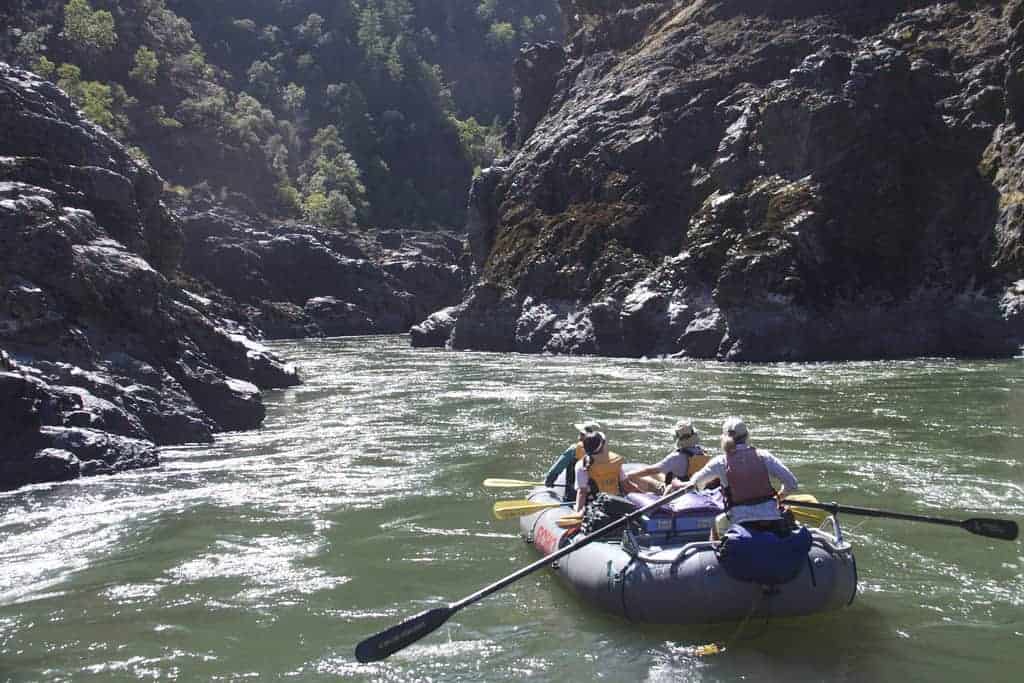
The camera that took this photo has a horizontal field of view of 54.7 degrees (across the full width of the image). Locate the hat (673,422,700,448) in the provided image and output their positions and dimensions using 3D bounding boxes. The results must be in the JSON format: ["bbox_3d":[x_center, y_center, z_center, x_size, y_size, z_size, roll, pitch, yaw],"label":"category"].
[{"bbox_3d":[4.263,2.324,24.374,0.539,0.670,0.669,-3,37,-2],"label":"hat"}]

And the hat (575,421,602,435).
[{"bbox_3d":[1.842,2.176,24.834,0.403,0.185,0.541,3,-1,-23],"label":"hat"}]

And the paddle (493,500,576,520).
[{"bbox_3d":[0.470,4.235,25.419,2.491,0.546,0.227,-1,5,8],"label":"paddle"}]

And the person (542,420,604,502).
[{"bbox_3d":[1.599,3.275,26.582,1.511,0.845,2.990,16,-26,-7],"label":"person"}]
